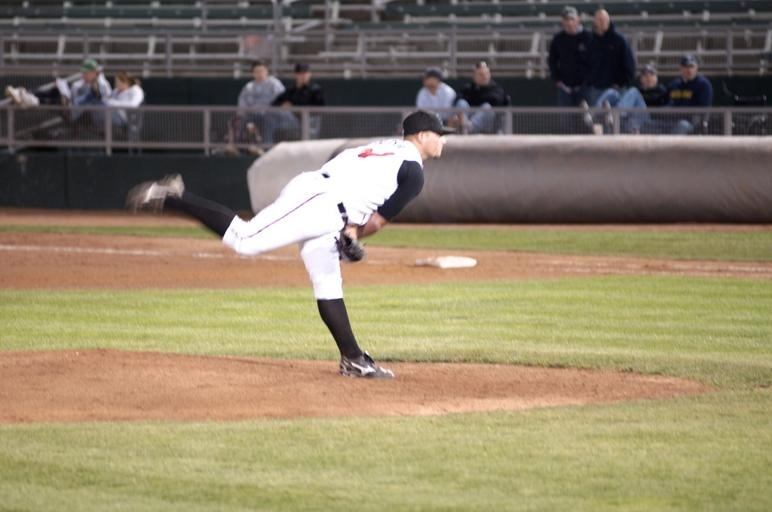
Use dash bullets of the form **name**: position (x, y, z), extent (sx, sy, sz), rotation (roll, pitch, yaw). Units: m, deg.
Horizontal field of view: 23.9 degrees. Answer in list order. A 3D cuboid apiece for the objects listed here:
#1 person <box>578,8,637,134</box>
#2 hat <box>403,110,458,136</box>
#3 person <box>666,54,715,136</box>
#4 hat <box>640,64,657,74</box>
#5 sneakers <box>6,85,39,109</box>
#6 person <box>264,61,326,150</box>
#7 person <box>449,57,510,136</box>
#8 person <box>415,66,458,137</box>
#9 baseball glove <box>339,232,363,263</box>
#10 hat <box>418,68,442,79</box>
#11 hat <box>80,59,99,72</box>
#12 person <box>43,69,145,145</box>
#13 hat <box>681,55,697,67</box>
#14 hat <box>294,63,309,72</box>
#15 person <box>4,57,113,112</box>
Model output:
- **person**: position (3.019, -2.660, 24.718), extent (0.612, 1.296, 0.573), rotation (-1, 6, -9)
- **hat**: position (0.394, -1.387, 19.396), extent (0.414, 0.196, 0.262), rotation (-9, 14, -5)
- **person**: position (4.123, -2.191, 24.894), extent (0.593, 1.072, 0.649), rotation (-1, 6, -10)
- **hat**: position (3.662, -2.606, 25.447), extent (0.164, 0.114, 0.300), rotation (-1, 8, 3)
- **sneakers**: position (-5.270, -2.290, 26.265), extent (0.590, 0.250, 0.267), rotation (24, 15, 40)
- **person**: position (-1.291, -2.039, 25.785), extent (0.831, 1.360, 0.847), rotation (7, 12, 7)
- **person**: position (1.276, -2.172, 25.180), extent (0.785, 0.965, 0.541), rotation (1, 6, 6)
- **person**: position (0.656, -2.206, 25.342), extent (0.598, 0.961, 0.587), rotation (-6, -32, 7)
- **baseball glove**: position (-0.368, -0.079, 19.270), extent (0.241, 0.303, 0.101), rotation (-34, 6, 24)
- **hat**: position (0.613, -2.593, 25.913), extent (0.454, 0.194, 0.498), rotation (0, 9, 0)
- **hat**: position (-4.262, -2.711, 26.047), extent (0.187, 0.120, 0.249), rotation (0, 4, -14)
- **person**: position (-4.159, -2.219, 26.073), extent (1.425, 0.979, 0.983), rotation (-5, -12, -23)
- **hat**: position (4.107, -2.661, 24.889), extent (0.195, 0.102, 0.292), rotation (1, 7, 8)
- **hat**: position (-1.209, -2.645, 25.627), extent (0.155, 0.161, 0.131), rotation (4, 17, 8)
- **person**: position (-4.680, -2.467, 26.427), extent (1.623, 0.813, 0.747), rotation (8, 31, -3)
